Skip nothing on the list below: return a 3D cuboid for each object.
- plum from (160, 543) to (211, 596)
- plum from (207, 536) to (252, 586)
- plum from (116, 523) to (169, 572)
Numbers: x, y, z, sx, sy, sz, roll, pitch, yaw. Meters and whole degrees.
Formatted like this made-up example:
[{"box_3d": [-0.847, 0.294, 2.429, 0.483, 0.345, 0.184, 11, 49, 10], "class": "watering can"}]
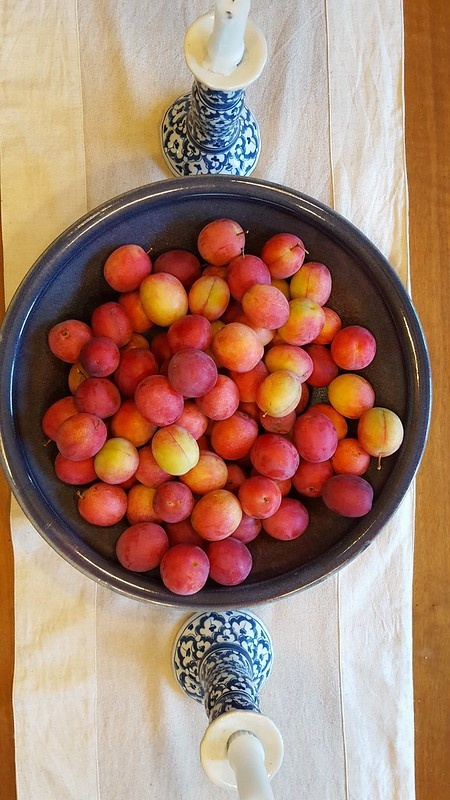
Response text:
[{"box_3d": [-0.034, 0.140, 0.619, 0.041, 0.040, 0.040, 19, 62, -4], "class": "plum"}, {"box_3d": [0.003, 0.137, 0.639, 0.037, 0.039, 0.044, -3, 77, 5], "class": "plum"}, {"box_3d": [-0.071, 0.126, 0.645, 0.045, 0.031, 0.038, -23, 71, -9], "class": "plum"}]
